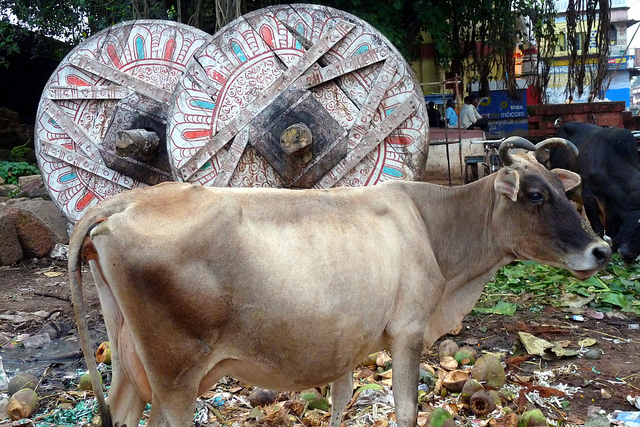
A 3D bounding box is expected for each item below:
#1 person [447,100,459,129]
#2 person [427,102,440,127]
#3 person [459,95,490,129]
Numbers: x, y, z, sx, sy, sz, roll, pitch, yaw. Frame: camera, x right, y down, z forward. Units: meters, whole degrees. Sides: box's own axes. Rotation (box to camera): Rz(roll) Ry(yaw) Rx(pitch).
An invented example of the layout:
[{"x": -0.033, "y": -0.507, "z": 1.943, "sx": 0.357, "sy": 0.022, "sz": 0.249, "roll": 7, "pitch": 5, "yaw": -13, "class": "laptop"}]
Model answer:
[{"x": 3.295, "y": -2.465, "z": 17.277, "sx": 0.248, "sy": 0.669, "sz": 0.851, "roll": 2, "pitch": 11, "yaw": 9, "class": "person"}, {"x": 2.814, "y": -2.399, "z": 17.094, "sx": 0.279, "sy": 0.570, "sz": 1.152, "roll": 2, "pitch": 11, "yaw": 10, "class": "person"}, {"x": 4.037, "y": -2.496, "z": 17.745, "sx": 0.571, "sy": 0.764, "sz": 0.640, "roll": 5, "pitch": -30, "yaw": -4, "class": "person"}]
